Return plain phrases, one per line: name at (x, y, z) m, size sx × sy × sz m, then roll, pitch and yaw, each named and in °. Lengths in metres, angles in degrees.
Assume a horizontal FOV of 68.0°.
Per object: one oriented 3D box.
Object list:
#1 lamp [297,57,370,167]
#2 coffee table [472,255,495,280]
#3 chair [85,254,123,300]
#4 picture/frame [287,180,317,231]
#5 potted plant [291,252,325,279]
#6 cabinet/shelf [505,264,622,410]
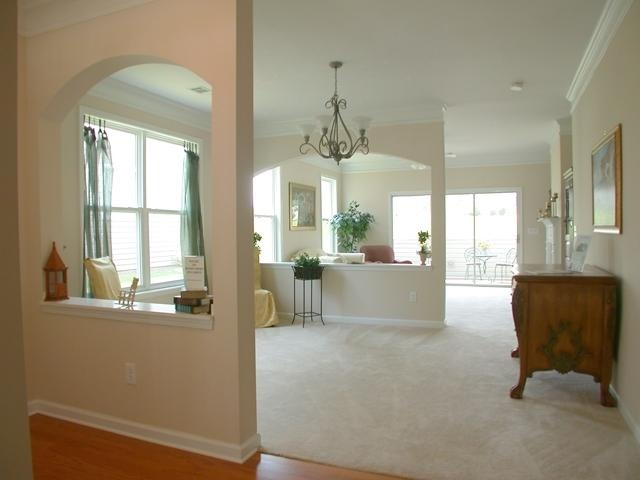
lamp at (0.204, -1.342, 5.617) m, size 0.850 × 1.197 × 0.836 m, roll 0°, pitch -4°, yaw -4°
coffee table at (3.698, 0.657, 10.884) m, size 0.531 × 0.634 × 0.549 m, roll -2°, pitch -6°, yaw 16°
chair at (-2.084, 0.372, 4.547) m, size 0.297 × 0.400 × 0.439 m, roll -4°, pitch 6°, yaw -38°
picture/frame at (-0.291, -0.585, 8.642) m, size 0.044 × 0.845 × 1.129 m, roll 0°, pitch 3°, yaw 22°
potted plant at (-0.154, 0.365, 6.443) m, size 0.349 × 0.368 × 0.336 m, roll 0°, pitch 1°, yaw 35°
cabinet/shelf at (2.053, 0.696, 4.325) m, size 0.799 × 1.042 × 1.324 m, roll 0°, pitch 9°, yaw 10°
